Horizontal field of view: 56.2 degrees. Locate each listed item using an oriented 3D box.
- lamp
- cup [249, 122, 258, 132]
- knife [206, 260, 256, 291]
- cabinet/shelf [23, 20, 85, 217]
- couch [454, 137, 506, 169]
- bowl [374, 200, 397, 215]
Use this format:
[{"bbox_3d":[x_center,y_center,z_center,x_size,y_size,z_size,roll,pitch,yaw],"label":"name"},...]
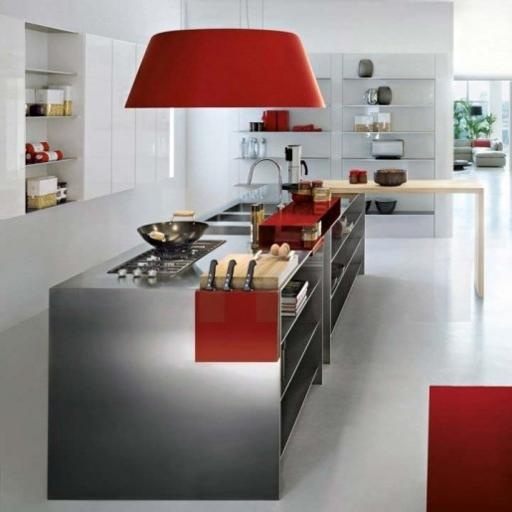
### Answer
[{"bbox_3d":[-0.109,-0.532,1.378,0.566,0.219,0.189,2,9,8],"label":"lamp"},{"bbox_3d":[-0.046,-1.979,7.331,0.127,0.112,0.110,-1,11,-3],"label":"cup"},{"bbox_3d":[-0.091,0.060,1.714,0.168,0.087,0.178,1,10,4],"label":"knife"},{"bbox_3d":[-1.794,-1.246,4.274,0.426,1.516,0.408,1,8,5],"label":"cabinet/shelf"},{"bbox_3d":[8.228,-3.752,17.647,1.749,1.111,2.875,4,11,23],"label":"couch"},{"bbox_3d":[2.024,-0.766,7.431,0.226,0.170,0.246,0,2,0],"label":"bowl"}]
